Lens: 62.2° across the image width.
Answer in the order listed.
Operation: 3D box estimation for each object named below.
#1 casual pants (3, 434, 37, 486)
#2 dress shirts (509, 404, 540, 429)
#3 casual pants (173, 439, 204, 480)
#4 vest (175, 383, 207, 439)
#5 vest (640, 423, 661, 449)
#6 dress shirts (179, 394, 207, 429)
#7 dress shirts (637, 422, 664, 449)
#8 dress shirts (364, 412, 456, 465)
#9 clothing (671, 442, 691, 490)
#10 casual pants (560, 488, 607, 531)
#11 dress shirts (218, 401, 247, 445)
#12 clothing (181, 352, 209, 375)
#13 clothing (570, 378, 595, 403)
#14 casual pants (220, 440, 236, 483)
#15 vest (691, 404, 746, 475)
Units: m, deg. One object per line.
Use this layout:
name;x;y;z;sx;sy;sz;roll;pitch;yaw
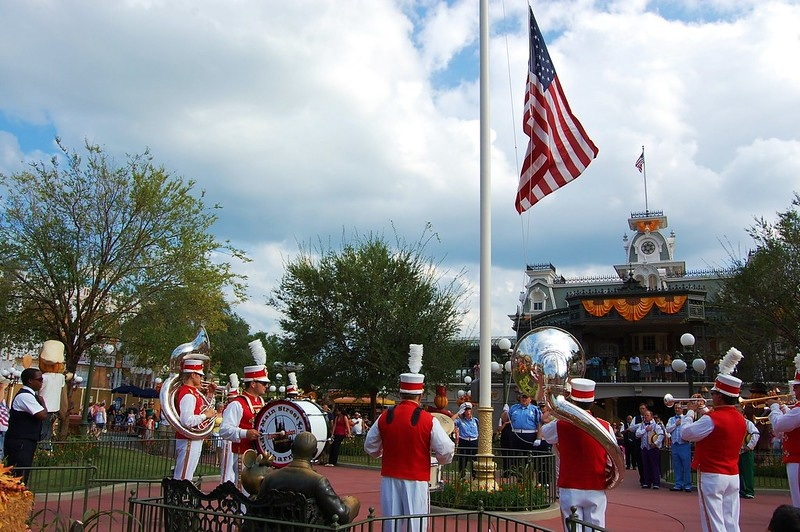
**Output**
casual pants;-7.277;3.708;12.615;0.546;0.900;2.450;7;-13;-27
dress shirts;3.388;4.103;18.038;0.961;0.784;0.577;-2;-32;22
casual pants;-4.154;3.766;12.901;0.460;0.781;0.523;4;-12;-18
vest;-3.976;2.762;12.631;0.318;0.969;0.748;-5;-17;27
vest;7.360;4.992;19.404;0.374;0.557;0.591;23;-27;-24
dress shirts;-3.999;2.729;12.560;0.215;0.630;0.451;-28;-10;24
dress shirts;7.425;5.011;19.618;0.513;0.746;0.853;28;-33;-21
dress shirts;0.216;2.898;11.146;1.810;0.751;1.848;2;-8;6
clothing;7.976;5.648;18.763;0.370;1.359;0.527;7;-8;-42
casual pants;2.880;3.840;10.445;0.695;0.659;0.510;-2;-12;12
dress shirts;-2.953;2.735;11.703;0.433;0.715;0.556;4;-12;-18
clothing;-4.037;1.914;12.980;0.418;0.288;0.418;-7;-18;2
clothing;2.921;1.997;10.737;0.377;0.280;0.375;1;-1;-37
casual pants;-3.177;3.650;12.457;0.212;0.776;0.179;-11;-23;29
vest;5.534;3.005;11.446;0.853;1.159;0.360;1;-12;-2
